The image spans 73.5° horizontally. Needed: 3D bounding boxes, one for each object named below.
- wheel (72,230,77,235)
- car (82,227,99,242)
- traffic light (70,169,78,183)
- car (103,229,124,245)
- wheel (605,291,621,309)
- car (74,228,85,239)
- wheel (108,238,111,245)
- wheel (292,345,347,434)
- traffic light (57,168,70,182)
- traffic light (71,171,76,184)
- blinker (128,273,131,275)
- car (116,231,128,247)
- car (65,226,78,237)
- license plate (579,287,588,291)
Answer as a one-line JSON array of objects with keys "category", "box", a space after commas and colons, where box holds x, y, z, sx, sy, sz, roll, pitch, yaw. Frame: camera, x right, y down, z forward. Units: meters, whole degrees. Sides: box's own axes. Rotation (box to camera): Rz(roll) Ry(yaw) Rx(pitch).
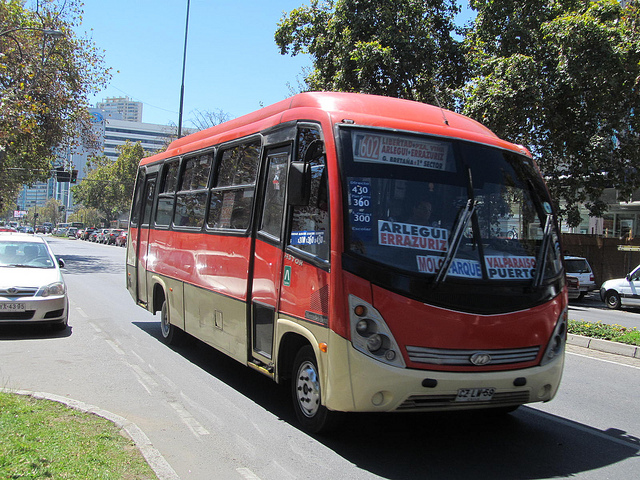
[{"category": "wheel", "box": [-51.641, -1.819, 90.374, 0.436, 0.904, 1.619, 3, -2, -41]}, {"category": "car", "box": [-42.506, -1.182, 79.000, 2.028, 1.628, 3.177, 0, 9, -27]}, {"category": "traffic light", "box": [-22.364, -5.884, 38.987, 0.485, 1.159, 1.251, 3, -2, -38]}, {"category": "car", "box": [-30.725, -0.450, 63.678, 2.267, 2.081, 4.993, 0, 6, -26]}, {"category": "wheel", "box": [13.306, 2.669, 19.478, 0.287, 0.866, 0.813, 2, -4, -26]}, {"category": "car", "box": [-47.862, -1.079, 85.428, 2.282, 1.352, 3.231, -1, 8, -24]}, {"category": "wheel", "box": [-31.132, 0.162, 63.541, 0.666, 0.718, 0.648, 1, -1, 0]}, {"category": "wheel", "box": [-0.040, 1.625, 4.743, 0.311, 0.956, 0.817, 3, 1, -31]}, {"category": "traffic light", "box": [-22.977, -5.995, 38.391, 0.874, 1.192, 2.128, 3, -2, -19]}, {"category": "traffic light", "box": [-22.208, -5.803, 38.761, 0.377, 1.071, 0.709, 3, -2, -35]}, {"category": "blinker", "box": [-4.922, 0.857, 11.095, 0.067, 0.055, 0.079, 0, 4, -5]}, {"category": "car", "box": [-24.088, -0.153, 52.106, 1.483, 1.334, 2.705, -1, 15, -22]}, {"category": "car", "box": [-52.822, -1.983, 91.509, 2.318, 2.054, 3.885, -2, 8, -35]}, {"category": "license plate", "box": [13.353, 2.448, 21.743, 0.270, 0.071, 0.265, 0, 6, 0]}]
